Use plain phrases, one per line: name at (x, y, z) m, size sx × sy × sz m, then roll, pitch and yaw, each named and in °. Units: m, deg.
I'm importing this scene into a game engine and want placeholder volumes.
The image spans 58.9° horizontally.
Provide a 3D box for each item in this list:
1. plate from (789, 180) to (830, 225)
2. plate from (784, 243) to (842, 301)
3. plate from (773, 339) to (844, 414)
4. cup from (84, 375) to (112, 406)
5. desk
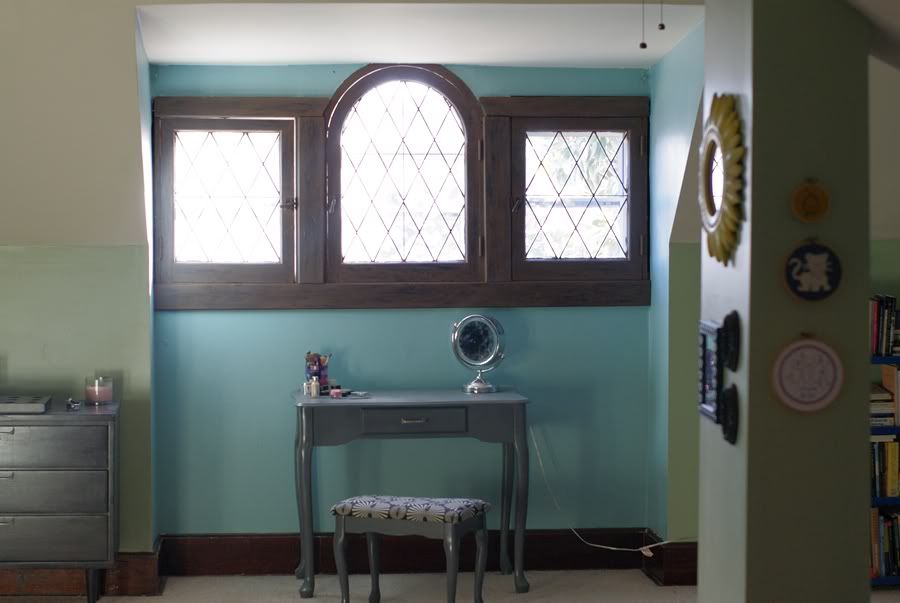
plate at (1.353, -0.377, 3.032) m, size 0.122 × 0.151 × 0.036 m, roll -3°, pitch 1°, yaw 0°
plate at (1.371, -0.122, 3.001) m, size 0.192 × 0.231 × 0.030 m, roll 2°, pitch 0°, yaw 3°
plate at (1.349, 0.273, 2.998) m, size 0.254 × 0.269 × 0.063 m, roll -13°, pitch 1°, yaw -5°
cup at (-1.799, 0.458, 4.101) m, size 0.129 × 0.147 × 0.125 m, roll 1°, pitch -3°, yaw 0°
desk at (-0.235, 1.018, 4.218) m, size 0.998 × 0.885 × 0.461 m, roll 0°, pitch -3°, yaw -4°
